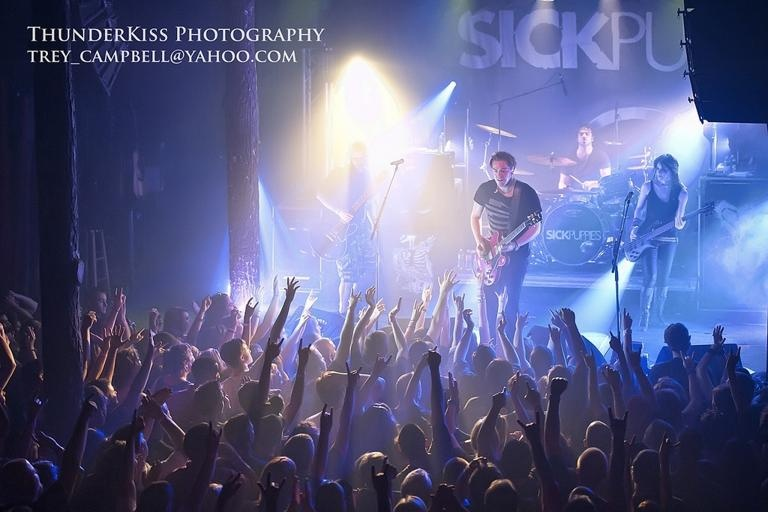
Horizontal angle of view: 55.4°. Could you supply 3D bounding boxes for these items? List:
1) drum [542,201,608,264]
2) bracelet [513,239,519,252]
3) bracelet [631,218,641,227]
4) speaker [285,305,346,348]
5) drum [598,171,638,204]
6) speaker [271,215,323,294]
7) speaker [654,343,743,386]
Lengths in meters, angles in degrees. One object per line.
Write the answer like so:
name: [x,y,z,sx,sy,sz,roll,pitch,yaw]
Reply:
drum: [3.129,-0.378,12.090,0.875,1.002,0.961,-1,8,12]
bracelet: [1.692,-0.131,9.372,0.064,0.098,0.031,2,5,39]
bracelet: [3.857,-0.518,11.181,0.117,0.121,0.118,-1,1,-23]
speaker: [-0.786,0.815,8.823,0.504,0.522,0.188,7,-29,12]
drum: [3.773,-1.098,11.849,0.499,0.396,0.521,-8,-3,0]
speaker: [-1.418,-0.069,12.563,1.078,1.242,1.178,0,2,15]
speaker: [3.085,1.093,7.424,0.818,0.402,0.587,-1,-2,-32]
